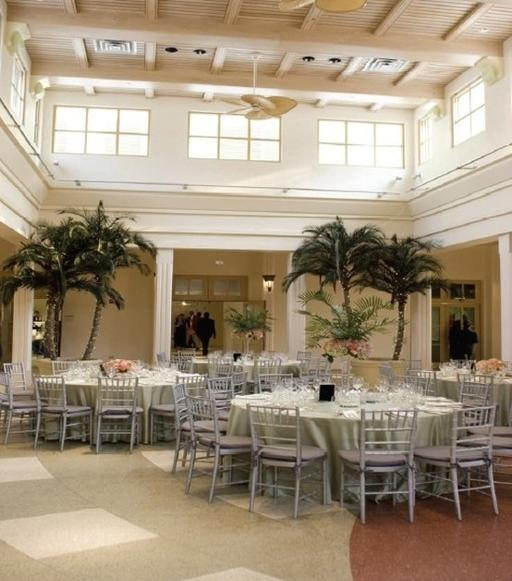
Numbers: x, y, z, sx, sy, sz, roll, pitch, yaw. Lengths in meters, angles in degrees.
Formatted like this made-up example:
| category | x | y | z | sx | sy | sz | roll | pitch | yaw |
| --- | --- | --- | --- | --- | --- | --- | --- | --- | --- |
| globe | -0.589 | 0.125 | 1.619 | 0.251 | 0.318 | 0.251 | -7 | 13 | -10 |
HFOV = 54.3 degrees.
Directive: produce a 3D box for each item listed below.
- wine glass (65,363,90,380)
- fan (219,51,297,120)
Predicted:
| category | x | y | z | sx | sy | sz | roll | pitch | yaw |
| --- | --- | --- | --- | --- | --- | --- | --- | --- | --- |
| wine glass | -2.566 | 1.181 | 7.256 | 0.267 | 0.115 | 0.339 | 1 | 1 | -7 |
| fan | 0.036 | -3.187 | 7.799 | 1.116 | 0.814 | 0.957 | 3 | 4 | 44 |
